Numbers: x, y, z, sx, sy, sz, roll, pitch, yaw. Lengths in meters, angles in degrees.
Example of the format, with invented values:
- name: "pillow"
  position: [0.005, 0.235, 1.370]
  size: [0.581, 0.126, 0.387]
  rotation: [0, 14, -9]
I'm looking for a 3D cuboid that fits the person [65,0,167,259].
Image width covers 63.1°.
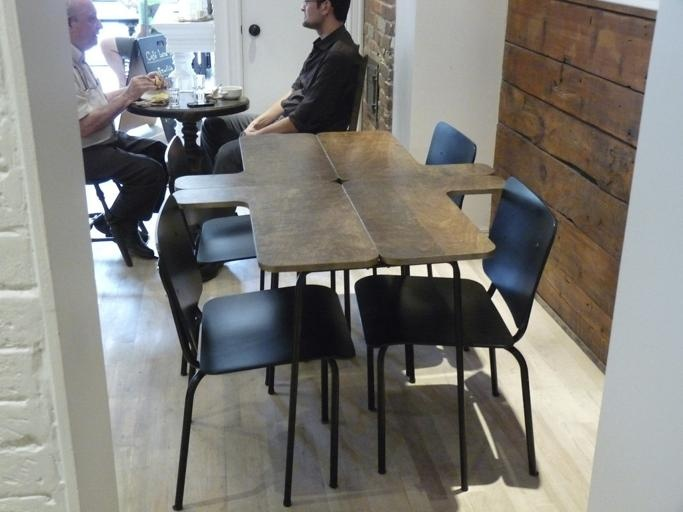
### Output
- name: "person"
  position: [-1.268, -0.732, 3.267]
  size: [0.458, 1.404, 0.576]
  rotation: [-7, 21, -14]

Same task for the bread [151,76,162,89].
- name: "bread"
  position: [-1.098, -1.022, 3.279]
  size: [0.052, 0.033, 0.074]
  rotation: [-8, 44, -27]

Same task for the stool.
- name: "stool"
  position: [-1.232, -0.176, 3.097]
  size: [0.247, 0.445, 0.306]
  rotation: [-11, 38, -18]

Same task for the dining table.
- name: "dining table"
  position: [-0.906, -0.842, 3.347]
  size: [0.432, 0.349, 0.486]
  rotation: [-4, 28, -9]

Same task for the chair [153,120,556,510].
- name: "chair"
  position: [-0.017, 0.160, 2.180]
  size: [1.256, 0.917, 1.193]
  rotation: [-6, 23, -11]
